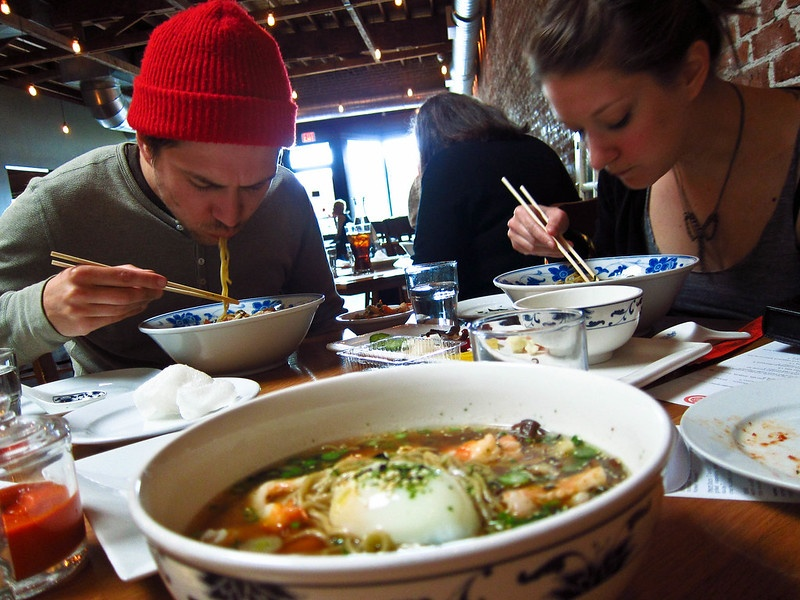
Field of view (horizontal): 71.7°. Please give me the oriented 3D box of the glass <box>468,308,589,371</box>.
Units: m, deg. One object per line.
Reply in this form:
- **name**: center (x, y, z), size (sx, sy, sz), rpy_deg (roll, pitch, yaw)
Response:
- **glass**: center (0.248, 0.055, 0.950), size (0.135, 0.069, 0.127), rpy_deg (-2, -4, 18)

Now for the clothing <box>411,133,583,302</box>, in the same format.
- **clothing**: center (0.474, -0.426, 2.811), size (1.075, 0.842, 0.540), rpy_deg (-9, 17, -5)

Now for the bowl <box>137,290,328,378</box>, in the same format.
- **bowl**: center (-0.440, 0.104, 1.604), size (0.382, 0.129, 0.362), rpy_deg (-4, -2, 0)

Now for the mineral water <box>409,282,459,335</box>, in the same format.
- **mineral water**: center (0.092, 0.018, 1.722), size (0.157, 0.147, 0.143), rpy_deg (-6, 1, -1)

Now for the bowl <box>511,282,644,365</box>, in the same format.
- **bowl**: center (0.448, 0.081, 1.254), size (0.226, 0.113, 0.215), rpy_deg (-2, -6, 0)

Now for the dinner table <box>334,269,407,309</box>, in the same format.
- **dinner table**: center (-0.251, -0.116, 4.408), size (0.386, 0.247, 0.567), rpy_deg (-4, 8, -24)
